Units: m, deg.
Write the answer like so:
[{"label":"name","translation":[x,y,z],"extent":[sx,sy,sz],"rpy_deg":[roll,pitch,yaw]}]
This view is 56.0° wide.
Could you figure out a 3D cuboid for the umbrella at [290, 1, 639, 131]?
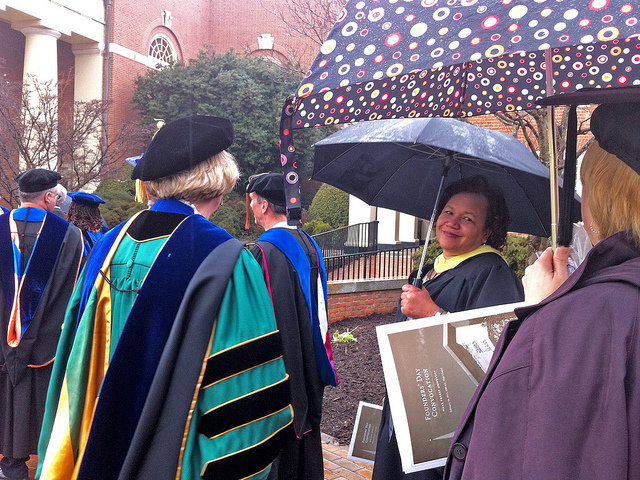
[{"label":"umbrella","translation":[0.457,-0.686,2.219],"extent":[0.885,0.393,0.858],"rpy_deg":[5,6,-17]}]

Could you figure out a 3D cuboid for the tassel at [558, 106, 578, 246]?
[{"label":"tassel","translation":[0.874,-0.205,2.104],"extent":[0.045,0.476,0.400],"rpy_deg":[5,0,22]}]

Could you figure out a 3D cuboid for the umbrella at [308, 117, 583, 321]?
[{"label":"umbrella","translation":[0.643,-0.073,4.501],"extent":[1.710,1.084,1.652],"rpy_deg":[12,-2,-12]}]

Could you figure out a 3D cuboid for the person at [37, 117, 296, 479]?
[{"label":"person","translation":[-0.654,0.241,2.686],"extent":[1.146,1.595,0.619],"rpy_deg":[5,0,3]}]
